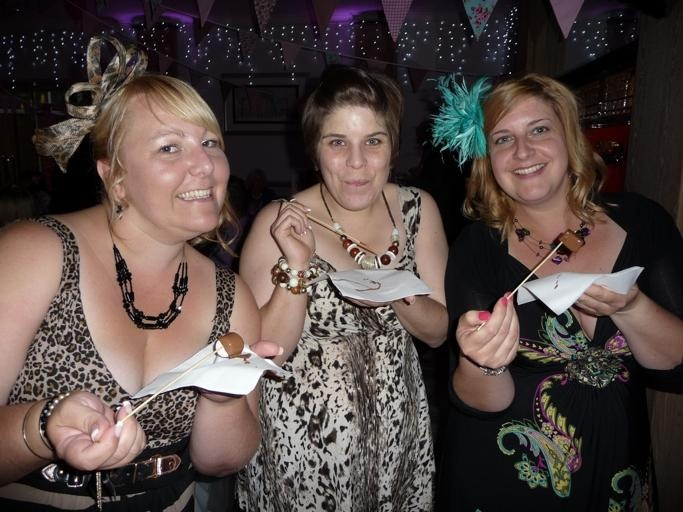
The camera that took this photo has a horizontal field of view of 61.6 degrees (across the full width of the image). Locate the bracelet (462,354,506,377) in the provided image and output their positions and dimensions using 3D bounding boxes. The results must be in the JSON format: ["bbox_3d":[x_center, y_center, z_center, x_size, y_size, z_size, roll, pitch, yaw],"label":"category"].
[{"bbox_3d":[0.664,0.511,2.580,0.131,0.040,0.113,19,10,22],"label":"bracelet"}]

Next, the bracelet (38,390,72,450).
[{"bbox_3d":[-1.045,0.591,2.087,0.133,0.174,0.039,11,-2,-2],"label":"bracelet"}]

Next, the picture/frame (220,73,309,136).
[{"bbox_3d":[-0.969,-1.930,7.151,1.063,0.832,0.051,-1,-10,-4],"label":"picture/frame"}]

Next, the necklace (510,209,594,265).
[{"bbox_3d":[0.992,-0.083,2.883,0.236,0.033,0.258,-36,46,-1],"label":"necklace"}]
